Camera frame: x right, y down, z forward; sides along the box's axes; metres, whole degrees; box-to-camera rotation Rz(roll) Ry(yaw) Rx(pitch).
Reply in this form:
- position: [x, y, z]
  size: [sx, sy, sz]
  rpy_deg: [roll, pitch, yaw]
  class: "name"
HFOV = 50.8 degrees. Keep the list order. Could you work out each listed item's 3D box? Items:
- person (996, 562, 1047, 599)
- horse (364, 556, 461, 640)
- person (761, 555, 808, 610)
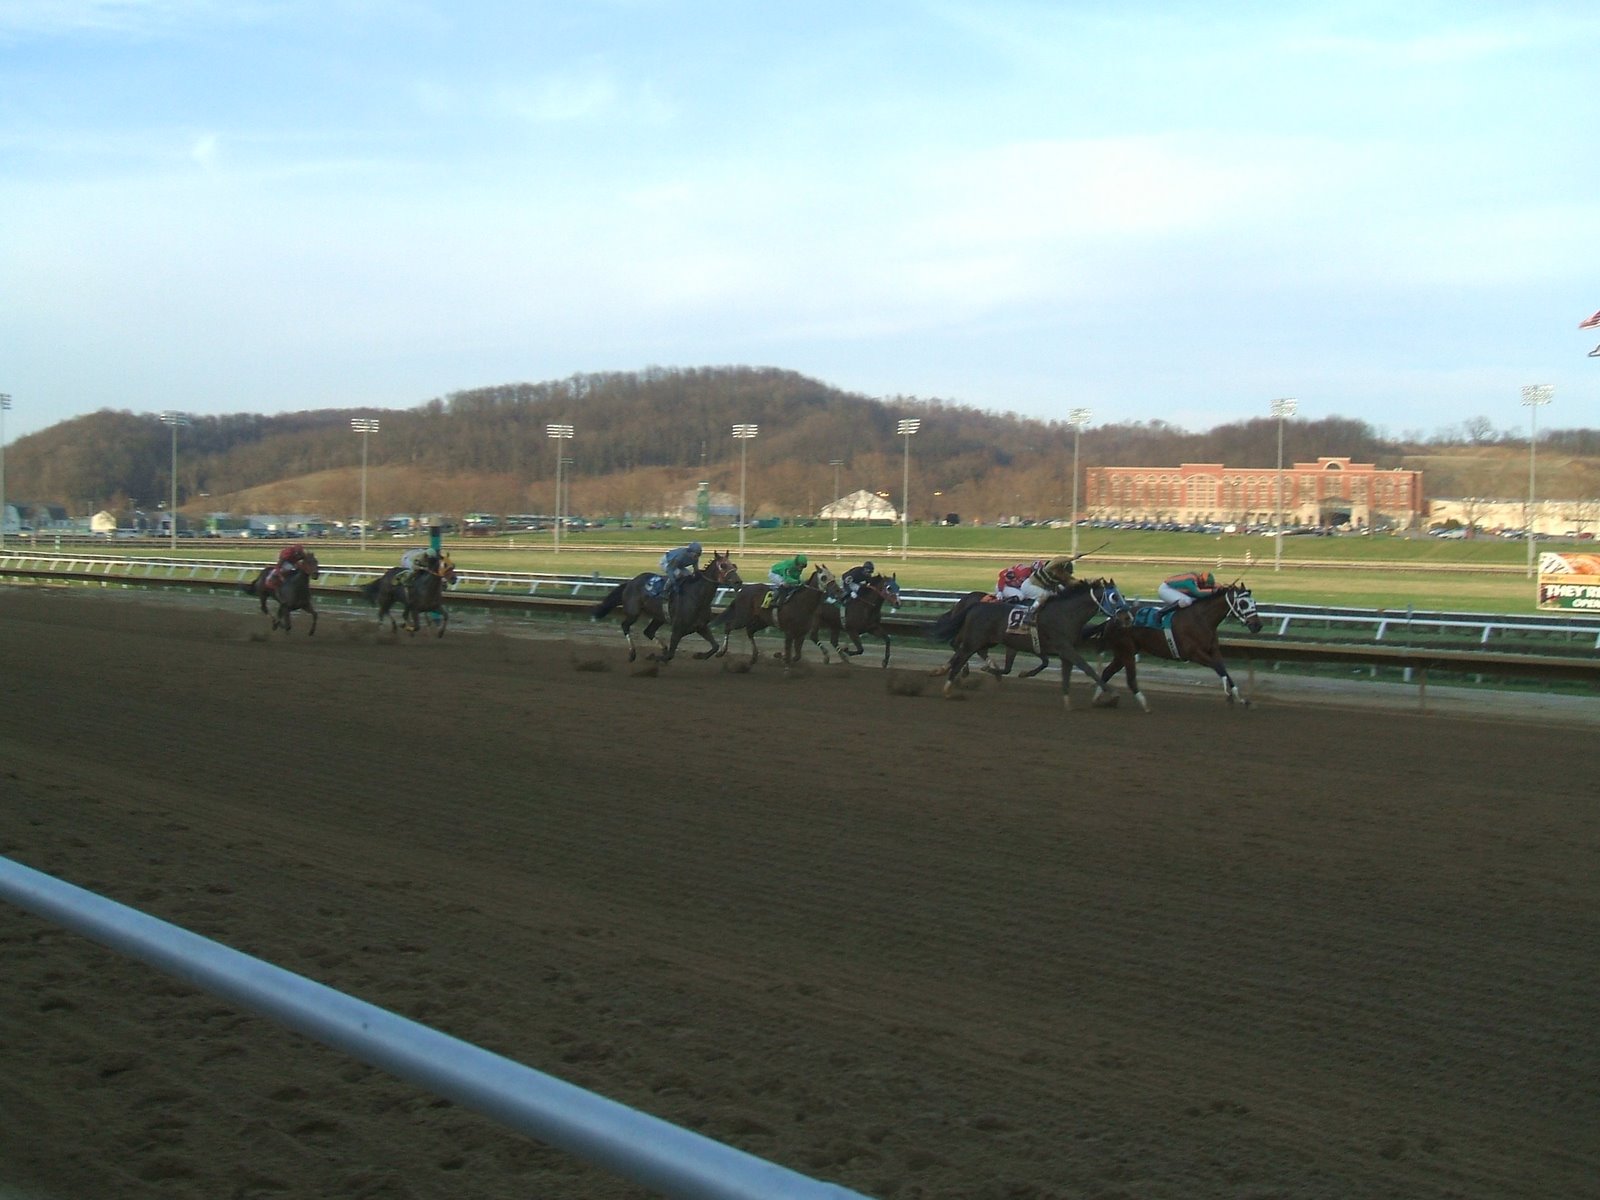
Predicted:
- position: [2.909, -0.275, 22.308]
  size: [0.375, 0.454, 0.838]
  rpy_deg: [-30, 14, -30]
  class: "person"
- position: [-6.398, -0.110, 27.456]
  size: [2.644, 1.288, 0.657]
  rpy_deg: [3, -4, 41]
  class: "horse"
- position: [-0.218, -0.212, 21.806]
  size: [0.512, 0.713, 0.963]
  rpy_deg: [0, 10, -2]
  class: "person"
